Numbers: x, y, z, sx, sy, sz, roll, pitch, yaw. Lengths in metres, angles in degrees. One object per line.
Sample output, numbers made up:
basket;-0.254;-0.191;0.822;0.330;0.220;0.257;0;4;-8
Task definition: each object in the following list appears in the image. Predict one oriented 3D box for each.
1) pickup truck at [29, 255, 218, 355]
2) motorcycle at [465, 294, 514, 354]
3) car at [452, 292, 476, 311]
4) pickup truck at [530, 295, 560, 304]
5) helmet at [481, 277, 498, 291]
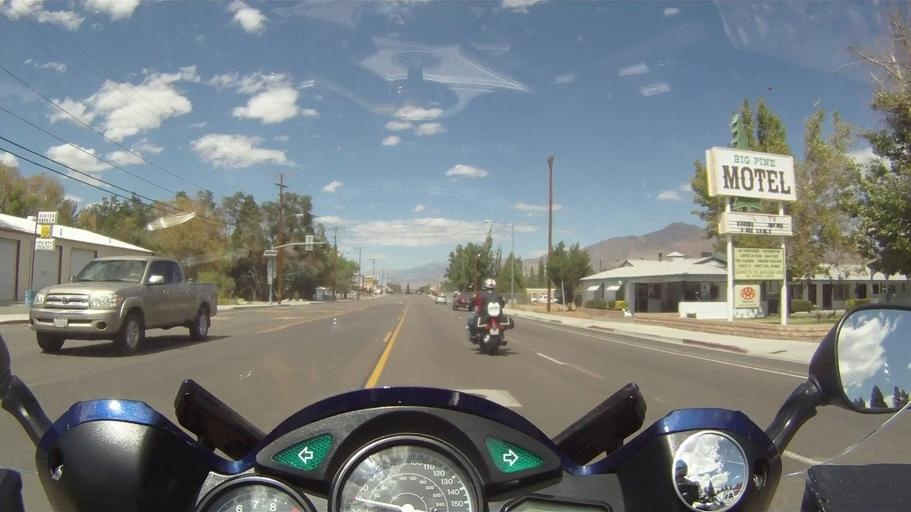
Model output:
pickup truck;-8.062;1.139;15.964;2.295;1.686;3.979;-3;-9;15
motorcycle;0.929;1.763;17.324;0.828;1.718;0.957;2;-7;6
car;0.469;3.617;50.845;1.180;0.956;2.603;1;3;-2
pickup truck;11.795;5.739;85.635;2.229;1.292;3.550;1;-6;-11
helmet;0.927;0.872;17.623;0.414;0.531;0.521;5;3;3
